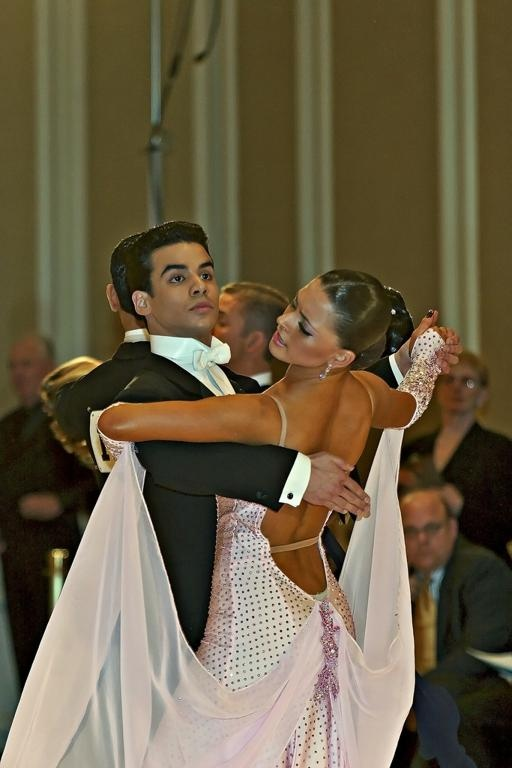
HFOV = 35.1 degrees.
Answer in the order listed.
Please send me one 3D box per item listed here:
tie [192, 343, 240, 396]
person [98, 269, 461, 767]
[{"bbox_3d":[-0.105,-0.032,1.982,0.048,0.118,0.135,-6,9,41],"label":"tie"},{"bbox_3d":[0.144,0.283,1.819,0.827,1.062,0.421,-9,12,-43],"label":"person"}]
